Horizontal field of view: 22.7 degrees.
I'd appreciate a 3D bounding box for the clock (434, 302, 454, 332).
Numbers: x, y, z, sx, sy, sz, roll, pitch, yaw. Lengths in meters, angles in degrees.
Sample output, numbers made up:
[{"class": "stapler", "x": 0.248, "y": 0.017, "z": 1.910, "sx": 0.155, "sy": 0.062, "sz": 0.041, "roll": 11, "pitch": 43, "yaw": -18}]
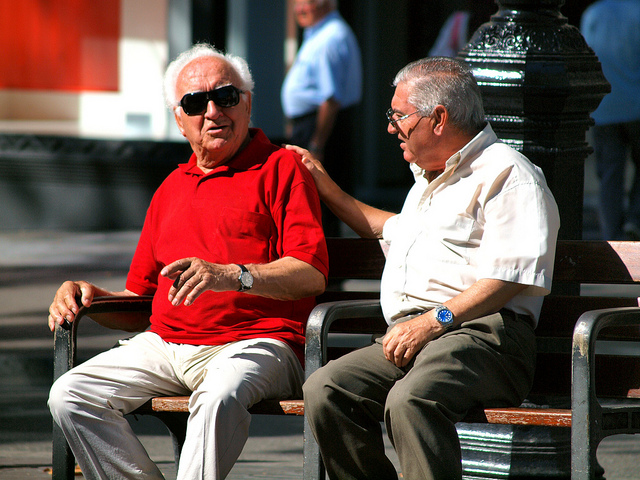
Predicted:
[{"class": "clock", "x": 0.677, "y": 0.422, "z": 8.738, "sx": 0.086, "sy": 0.142, "sz": 0.144, "roll": -28, "pitch": -18, "yaw": -14}]
